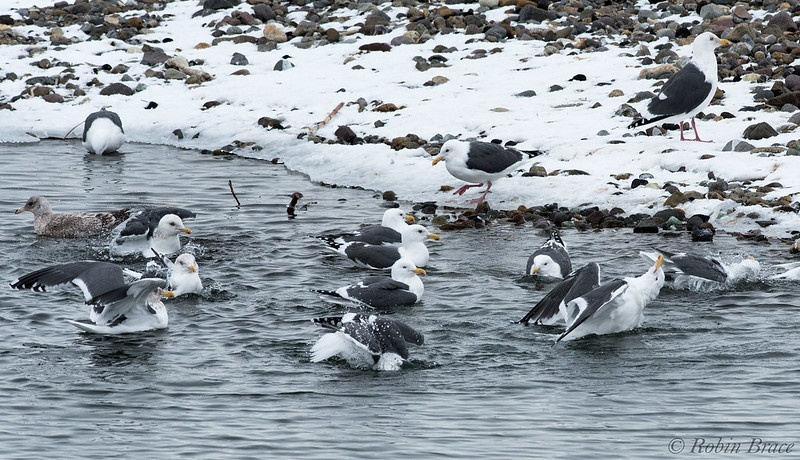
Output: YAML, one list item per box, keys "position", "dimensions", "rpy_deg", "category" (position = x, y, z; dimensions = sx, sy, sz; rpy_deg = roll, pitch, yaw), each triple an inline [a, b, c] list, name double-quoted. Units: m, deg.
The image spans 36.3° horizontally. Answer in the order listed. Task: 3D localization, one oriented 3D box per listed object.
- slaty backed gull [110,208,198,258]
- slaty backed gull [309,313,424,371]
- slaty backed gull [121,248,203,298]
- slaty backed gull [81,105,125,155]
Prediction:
- position: [-5.516, 0.087, 27.001]
  dimensions: [1.598, 0.596, 1.435]
  rpy_deg: [19, 32, 26]
  category: "slaty backed gull"
- position: [-0.717, 2.138, 23.234]
  dimensions: [1.800, 0.964, 0.713]
  rpy_deg: [2, 15, -2]
  category: "slaty backed gull"
- position: [-4.917, 0.747, 25.823]
  dimensions: [2.042, 0.897, 0.723]
  rpy_deg: [21, 40, 27]
  category: "slaty backed gull"
- position: [-8.050, -2.650, 33.189]
  dimensions: [0.928, 1.170, 0.908]
  rpy_deg: [-4, 17, -27]
  category: "slaty backed gull"
